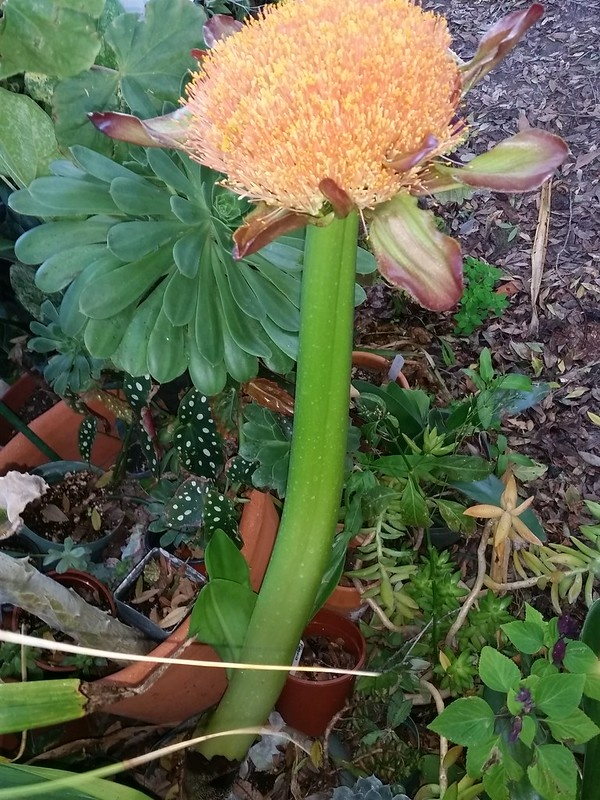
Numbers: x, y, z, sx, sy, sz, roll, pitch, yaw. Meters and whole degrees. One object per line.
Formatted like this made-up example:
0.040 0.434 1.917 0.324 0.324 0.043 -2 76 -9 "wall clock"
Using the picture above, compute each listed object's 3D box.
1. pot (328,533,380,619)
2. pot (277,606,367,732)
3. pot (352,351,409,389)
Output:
0.081 0.288 1.010 0.058 0.177 0.101 10 50 13 "pot"
0.037 0.414 0.954 0.111 0.192 0.178 18 52 20 "pot"
0.156 -0.074 1.158 0.091 0.085 0.031 18 72 27 "pot"
